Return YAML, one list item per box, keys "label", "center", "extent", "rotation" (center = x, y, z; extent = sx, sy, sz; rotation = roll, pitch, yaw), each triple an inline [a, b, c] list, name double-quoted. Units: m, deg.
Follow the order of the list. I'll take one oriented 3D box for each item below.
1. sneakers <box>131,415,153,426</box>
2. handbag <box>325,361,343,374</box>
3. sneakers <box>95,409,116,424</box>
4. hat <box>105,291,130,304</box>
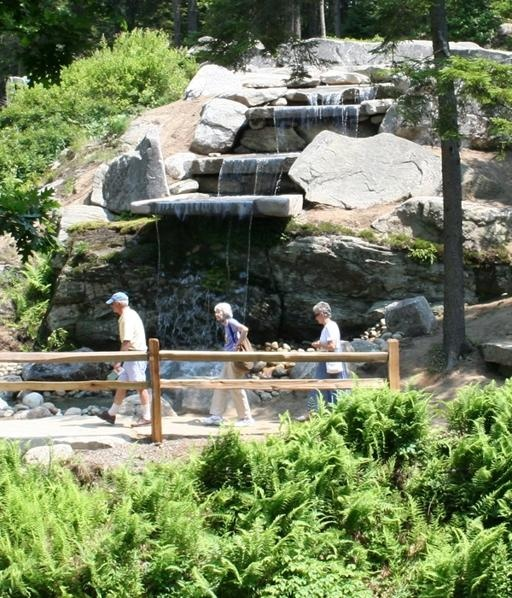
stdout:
- label: "sneakers"
  center: [-1.298, 1.405, 7.454]
  extent: [0.224, 0.069, 0.079]
  rotation: [0, -2, 4]
- label: "handbag"
  center: [0.915, 0.792, 7.555]
  extent: [0.220, 0.131, 0.183]
  rotation: [-2, 7, -3]
- label: "sneakers"
  center: [-1.728, 1.347, 7.546]
  extent: [0.286, 0.106, 0.096]
  rotation: [25, -22, 20]
- label: "hat"
  center: [-2.068, -0.028, 9.644]
  extent: [0.418, 0.194, 0.253]
  rotation: [2, -8, 4]
